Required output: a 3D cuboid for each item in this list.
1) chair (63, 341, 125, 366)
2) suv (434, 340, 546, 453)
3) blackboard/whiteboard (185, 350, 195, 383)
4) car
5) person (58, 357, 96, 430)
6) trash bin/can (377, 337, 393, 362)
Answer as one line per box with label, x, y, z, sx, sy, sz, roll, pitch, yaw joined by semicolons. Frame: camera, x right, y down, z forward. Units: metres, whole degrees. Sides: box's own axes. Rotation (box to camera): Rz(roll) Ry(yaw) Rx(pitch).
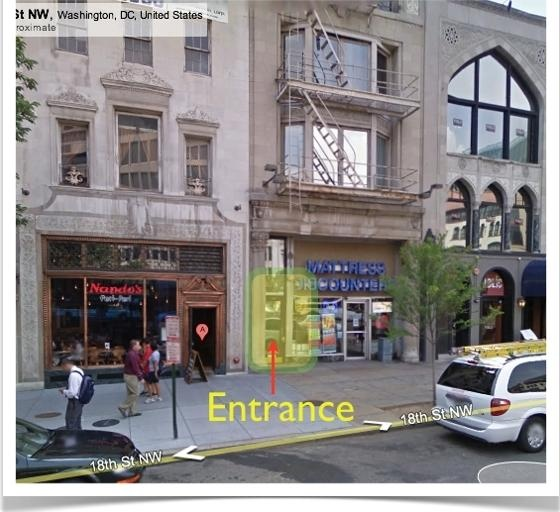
chair;-5.665;3.088;20.969;1.671;0.856;0.438;3;5;-20
suv;5.024;3.330;16.383;2.849;1.772;1.665;-5;1;-25
blackboard/whiteboard;-2.771;3.442;21.108;0.260;0.921;0.821;3;-5;-13
car;-4.131;4.105;14.244;2.567;1.016;1.301;13;22;-18
person;-4.990;3.601;16.620;0.676;2.233;0.686;-1;11;-40
trash bin/can;3.812;3.405;24.952;0.571;0.895;0.645;2;8;9
